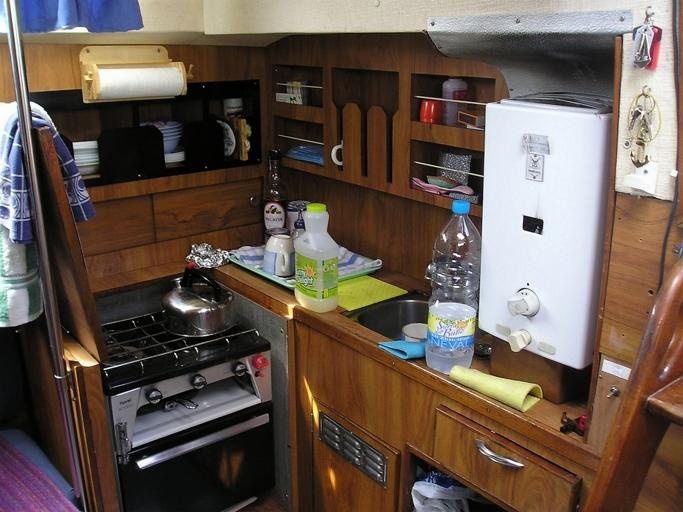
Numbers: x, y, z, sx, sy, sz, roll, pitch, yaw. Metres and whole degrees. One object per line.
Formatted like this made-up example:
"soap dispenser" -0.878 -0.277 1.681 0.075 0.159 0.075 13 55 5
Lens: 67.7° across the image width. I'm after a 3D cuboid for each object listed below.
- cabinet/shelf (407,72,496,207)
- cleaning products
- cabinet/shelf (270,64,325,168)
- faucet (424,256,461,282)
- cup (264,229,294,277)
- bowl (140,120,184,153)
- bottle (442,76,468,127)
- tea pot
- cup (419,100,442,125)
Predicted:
"cabinet/shelf" 0.420 -0.447 1.858 0.302 0.485 0.139 19 27 34
"cleaning products" -0.090 0.012 1.893 0.131 0.382 0.131 -8 20 -24
"cabinet/shelf" -0.159 -0.672 2.410 0.118 0.413 0.370 -23 29 -39
"faucet" 0.366 0.043 1.837 0.115 0.083 0.069 1 4 0
"cup" -0.275 -0.010 2.174 0.130 0.156 0.174 -1 23 -14
"bowl" -0.808 -0.552 2.298 0.151 0.096 0.155 2 26 -1
"bottle" 0.411 -0.565 1.850 0.100 0.165 0.135 6 19 15
"tea pot" -0.586 0.163 2.064 0.257 0.256 0.261 5 22 -2
"cup" 0.335 -0.536 1.893 0.091 0.086 0.093 2 18 -1
